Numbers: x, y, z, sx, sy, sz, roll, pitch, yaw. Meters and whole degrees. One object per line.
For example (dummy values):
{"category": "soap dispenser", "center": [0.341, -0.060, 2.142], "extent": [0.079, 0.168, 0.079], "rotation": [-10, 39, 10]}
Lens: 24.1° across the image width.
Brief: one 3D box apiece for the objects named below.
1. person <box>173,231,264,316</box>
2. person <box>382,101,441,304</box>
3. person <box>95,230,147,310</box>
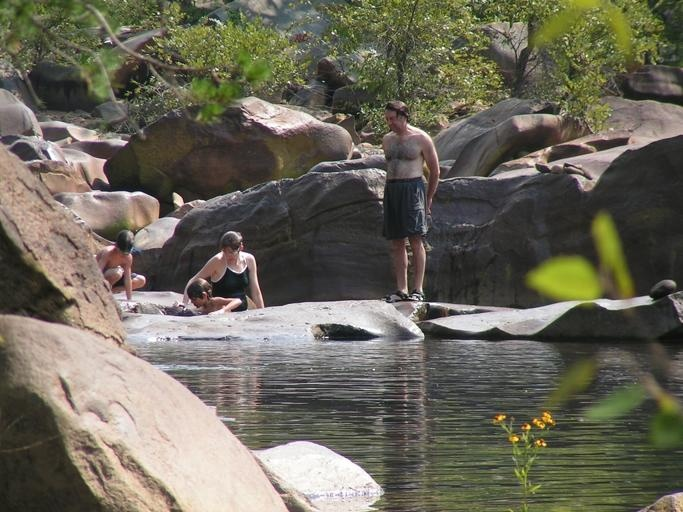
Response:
{"category": "person", "center": [-1.492, 0.195, 21.357], "extent": [0.738, 1.120, 0.886], "rotation": [5, 11, 39]}
{"category": "person", "center": [0.905, -0.700, 21.041], "extent": [0.733, 2.663, 0.494], "rotation": [-2, 9, 2]}
{"category": "person", "center": [-2.897, 0.208, 21.531], "extent": [0.580, 0.634, 1.086], "rotation": [-31, -20, -30]}
